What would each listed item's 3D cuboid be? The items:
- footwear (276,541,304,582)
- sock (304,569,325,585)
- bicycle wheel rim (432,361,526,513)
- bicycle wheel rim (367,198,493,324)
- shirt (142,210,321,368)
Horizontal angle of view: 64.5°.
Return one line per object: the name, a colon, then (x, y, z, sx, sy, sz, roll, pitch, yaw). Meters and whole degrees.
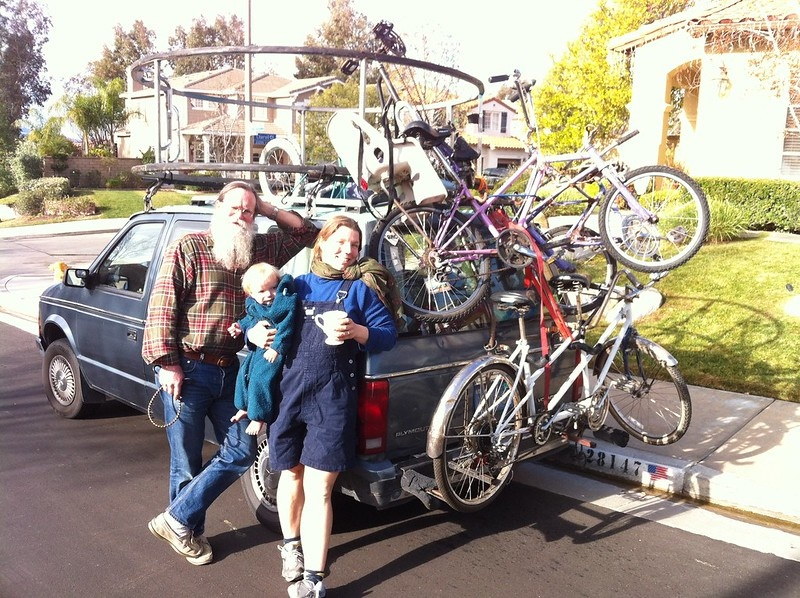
footwear: (-0.766, 1.815, 4.513, 0.145, 0.190, 0.412, -13, 12, -3)
sock: (-0.559, 1.828, 4.158, 0.088, 0.089, 0.106, 6, 18, -19)
bicycle wheel rim: (0.607, 0.987, 4.696, 0.275, 1.087, 0.964, 12, 18, 42)
bicycle wheel rim: (0.286, -0.201, 5.509, 0.965, 1.021, 0.304, -14, -10, -28)
shirt: (-1.153, -0.033, 4.502, 1.161, 1.176, 0.473, 4, 3, -19)
